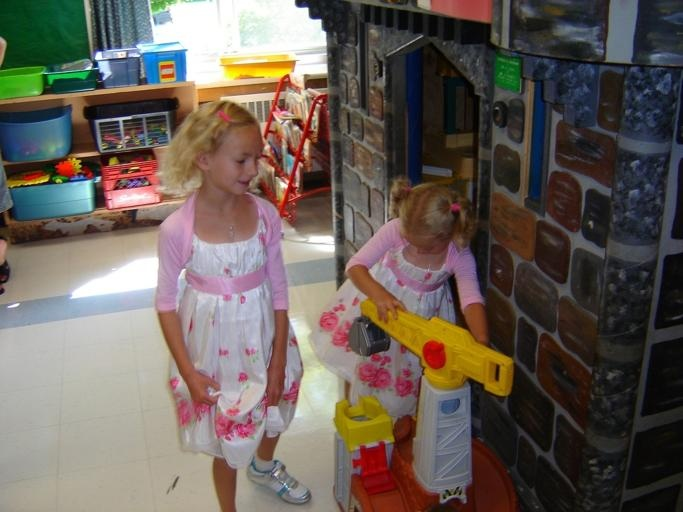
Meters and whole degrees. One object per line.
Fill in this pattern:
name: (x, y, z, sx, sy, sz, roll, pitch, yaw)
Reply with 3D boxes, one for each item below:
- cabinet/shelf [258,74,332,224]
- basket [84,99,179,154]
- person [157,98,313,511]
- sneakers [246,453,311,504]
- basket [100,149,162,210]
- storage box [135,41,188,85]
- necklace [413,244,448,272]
cabinet/shelf: (-0.401, -0.920, 4.229, 0.665, 1.279, 1.221, -4, 23, -13)
basket: (-1.850, -1.085, 4.667, 0.808, 0.442, 0.451, -10, -11, -10)
person: (-0.397, 0.303, 1.799, 0.492, 1.602, 0.432, -9, 21, -11)
sneakers: (-0.261, 0.941, 2.211, 0.336, 0.144, 0.118, 21, 35, 21)
basket: (-1.856, -0.660, 4.489, 0.518, 0.421, 0.538, -9, 21, -17)
storage box: (-1.536, -1.732, 4.408, 0.336, 0.295, 0.397, -12, 36, -22)
necklace: (0.327, 0.014, 1.838, 0.080, 0.115, 0.040, -1, 11, 1)
